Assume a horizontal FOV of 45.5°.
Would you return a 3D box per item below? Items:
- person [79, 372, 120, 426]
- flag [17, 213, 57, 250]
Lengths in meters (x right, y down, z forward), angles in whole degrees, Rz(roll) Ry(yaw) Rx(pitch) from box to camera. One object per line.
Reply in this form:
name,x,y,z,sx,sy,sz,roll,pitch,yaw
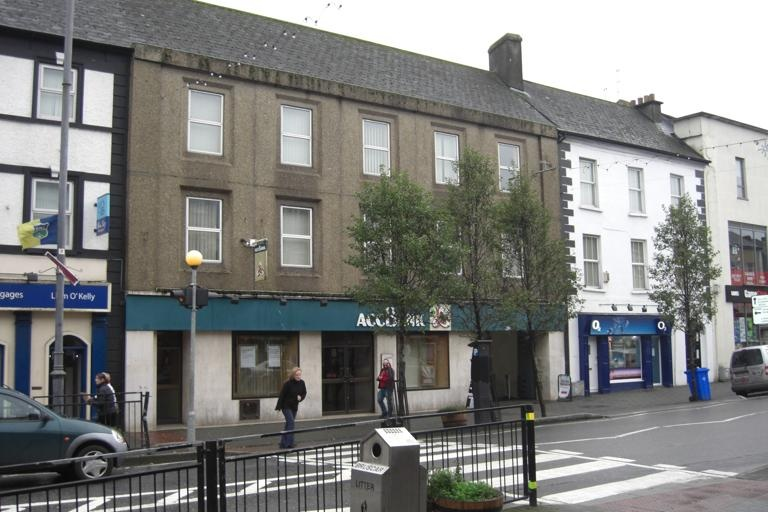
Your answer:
person,-8.989,4.890,29.241,0.851,2.320,0.813,6,10,17
flag,-11.695,-0.792,30.883,1.071,0.817,0.131,-5,-3,5
